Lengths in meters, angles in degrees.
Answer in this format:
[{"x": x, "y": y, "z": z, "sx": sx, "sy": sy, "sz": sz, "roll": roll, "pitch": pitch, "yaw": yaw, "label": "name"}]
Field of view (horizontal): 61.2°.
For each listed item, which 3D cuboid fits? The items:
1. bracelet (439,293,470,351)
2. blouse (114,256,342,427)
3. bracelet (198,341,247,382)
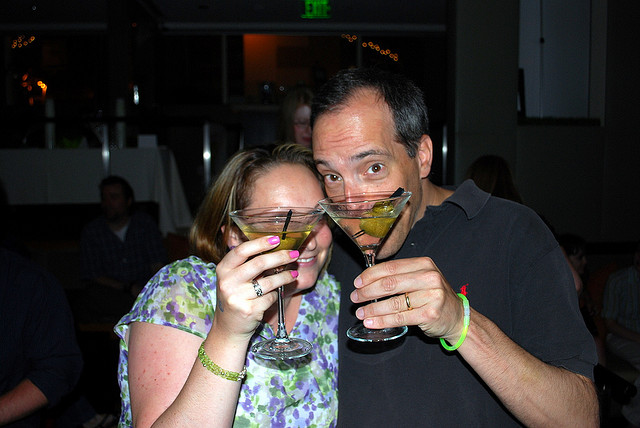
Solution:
[{"x": 0.893, "y": 0.690, "z": 3.433, "sx": 0.074, "sy": 0.314, "sz": 0.246, "roll": 7, "pitch": -12, "yaw": 1, "label": "bracelet"}, {"x": -0.564, "y": 0.887, "z": 3.792, "sx": 1.471, "sy": 1.157, "sz": 0.520, "roll": 1, "pitch": 4, "yaw": -6, "label": "blouse"}, {"x": -0.597, "y": 0.920, "z": 3.332, "sx": 0.226, "sy": 0.060, "sz": 0.215, "roll": 36, "pitch": -6, "yaw": -34, "label": "bracelet"}]
